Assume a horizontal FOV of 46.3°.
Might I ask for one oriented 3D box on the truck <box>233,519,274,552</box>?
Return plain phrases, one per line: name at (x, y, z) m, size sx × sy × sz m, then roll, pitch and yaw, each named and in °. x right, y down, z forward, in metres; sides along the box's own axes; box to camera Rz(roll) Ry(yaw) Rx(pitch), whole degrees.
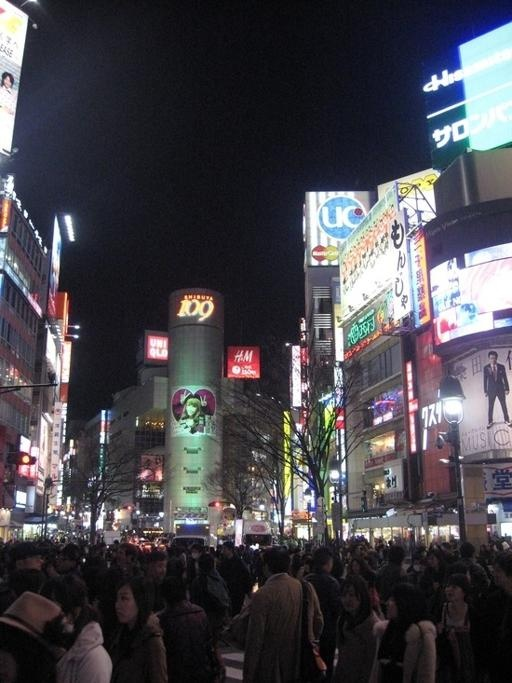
truck at (-0.045, 13.799, 43.645) m, size 2.367 × 2.850 × 4.939 m, roll 3°, pitch -27°, yaw -9°
